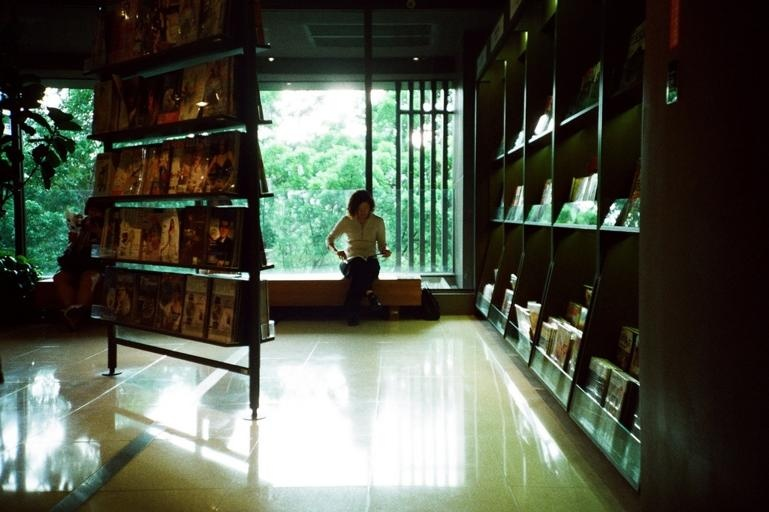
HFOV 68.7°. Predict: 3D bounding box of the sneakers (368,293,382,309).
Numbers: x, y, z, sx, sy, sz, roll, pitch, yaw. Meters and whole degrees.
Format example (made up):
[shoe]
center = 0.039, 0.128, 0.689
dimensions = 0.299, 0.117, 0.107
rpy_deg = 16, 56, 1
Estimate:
[sneakers]
center = -0.106, 0.420, 5.327
dimensions = 0.080, 0.071, 0.198
rpy_deg = 27, 27, -47
